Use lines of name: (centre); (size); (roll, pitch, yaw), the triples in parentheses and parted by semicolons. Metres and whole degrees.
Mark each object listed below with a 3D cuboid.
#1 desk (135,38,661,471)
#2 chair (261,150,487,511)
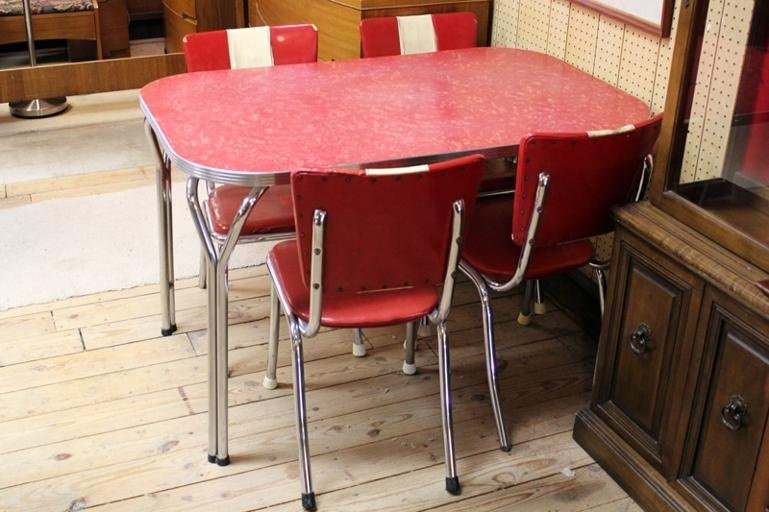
desk: (-0.066, 0.211, 2.864); (2.423, 1.345, 1.490); (-11, 38, -15)
chair: (-0.036, 0.203, 1.955); (0.674, 1.131, 0.664); (-9, 30, -13)
